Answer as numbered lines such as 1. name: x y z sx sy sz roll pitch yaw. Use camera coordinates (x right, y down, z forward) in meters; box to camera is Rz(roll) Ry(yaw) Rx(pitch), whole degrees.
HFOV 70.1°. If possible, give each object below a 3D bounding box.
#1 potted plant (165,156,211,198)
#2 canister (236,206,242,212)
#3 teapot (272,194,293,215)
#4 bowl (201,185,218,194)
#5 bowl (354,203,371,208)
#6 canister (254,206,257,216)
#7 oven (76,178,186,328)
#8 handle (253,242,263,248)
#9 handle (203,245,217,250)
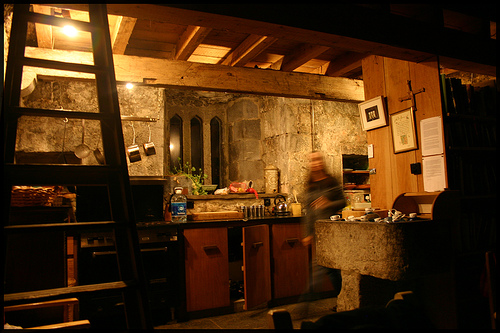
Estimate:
1. potted plant: -1.235 0.293 6.765 0.792 0.408 0.955 5 -14 -17
2. canister: -0.192 0.679 5.723 0.079 0.130 0.071 1 -3 -16
3. teapot: 0.532 0.646 5.976 0.378 0.299 0.237 10 -15 -42
4. bowl: -0.704 0.387 6.314 0.230 0.084 0.217 -1 -8 0
5. bowl: 1.317 0.449 4.159 0.077 0.055 0.216 1 -7 -28
6. canister: 0.083 0.675 5.437 0.043 0.134 0.017 -3 -7 3
7. oven: -1.468 1.037 4.416 1.202 1.791 0.530 1 -8 -29
8. handle: 0.106 1.036 4.740 0.007 0.070 0.199 -8 -9 39
9. handle: -0.517 1.043 4.625 0.179 0.052 0.019 1 -8 -26
